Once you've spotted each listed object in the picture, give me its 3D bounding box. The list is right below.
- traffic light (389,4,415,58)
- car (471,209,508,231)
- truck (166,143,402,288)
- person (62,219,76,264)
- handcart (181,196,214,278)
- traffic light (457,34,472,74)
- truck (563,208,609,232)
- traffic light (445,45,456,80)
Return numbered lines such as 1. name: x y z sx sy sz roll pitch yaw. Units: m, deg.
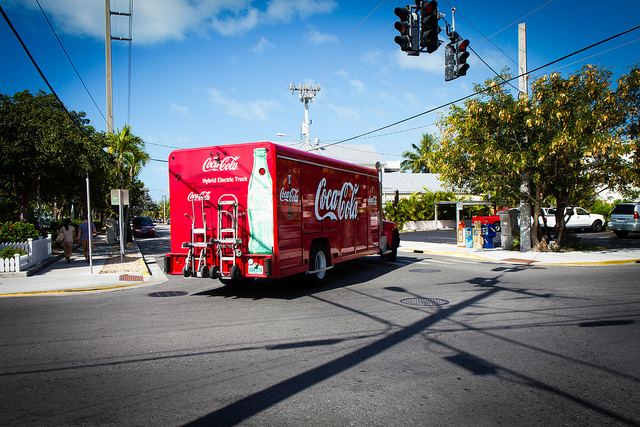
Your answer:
1. traffic light: 2.512 -5.412 13.593 0.763 1.420 0.522 -6 9 -36
2. car: 10.778 0.434 30.408 2.570 1.487 1.910 -2 0 4
3. truck: -0.085 0.132 15.383 3.045 4.793 9.779 6 10 42
4. person: -10.846 1.156 19.844 0.421 1.905 0.999 -5 8 -28
5. handcart: -3.362 0.635 12.504 0.989 2.149 0.579 2 7 23
6. traffic light: 4.454 -4.888 14.173 0.333 1.269 1.371 1 7 11
7. truck: 19.085 0.527 32.954 3.218 1.478 1.578 -2 3 -9
8. traffic light: 4.214 -4.868 14.738 0.311 1.109 0.238 1 7 18
